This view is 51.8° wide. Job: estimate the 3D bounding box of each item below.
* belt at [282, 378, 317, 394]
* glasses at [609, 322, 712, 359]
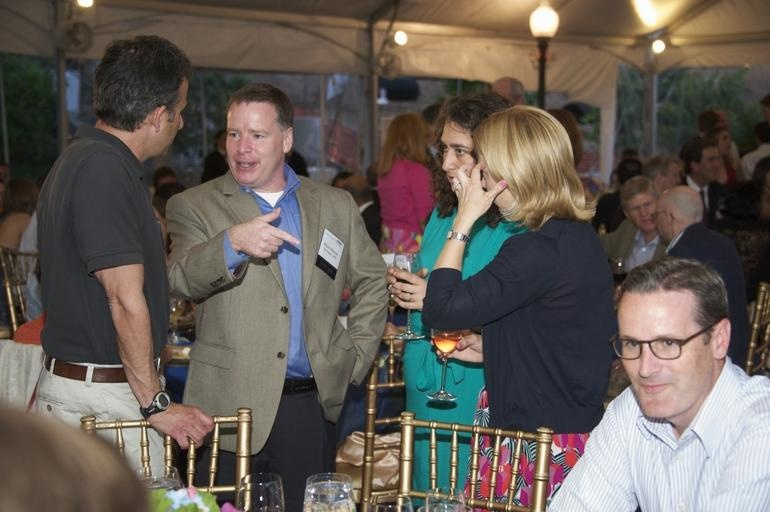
[{"bbox_3d":[-0.394,0.587,3.650,0.074,0.043,0.105,-4,-3,30],"label":"belt"},{"bbox_3d":[0.995,0.307,2.806,0.309,0.128,0.079,-1,-5,21],"label":"glasses"}]
